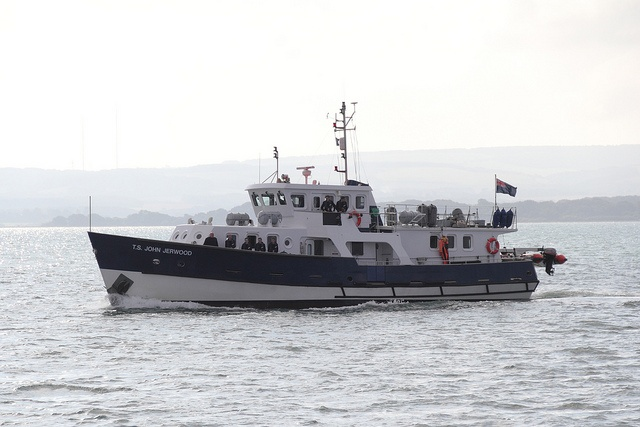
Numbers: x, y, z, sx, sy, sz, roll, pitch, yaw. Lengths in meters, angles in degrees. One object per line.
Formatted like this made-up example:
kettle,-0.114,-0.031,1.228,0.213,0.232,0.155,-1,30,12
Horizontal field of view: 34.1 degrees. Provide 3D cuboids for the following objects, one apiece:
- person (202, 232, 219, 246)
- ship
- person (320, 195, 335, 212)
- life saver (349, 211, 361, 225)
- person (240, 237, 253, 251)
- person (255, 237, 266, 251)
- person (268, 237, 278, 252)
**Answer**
person,-6.285,1.555,60.433,0.744,0.789,0.216,1,0,-8
ship,5.995,2.426,70.251,40.416,13.002,9.690,3,-6,-18
person,0.461,-0.523,62.456,1.079,1.320,0.494,-5,-35,7
life saver,2.193,0.361,62.487,0.753,0.764,0.322,1,-11,-1
person,-4.291,1.830,60.749,0.911,0.840,0.345,-1,-17,3
person,-3.447,1.837,60.782,0.557,0.765,0.768,0,3,44
person,-2.711,1.855,60.877,0.590,0.795,0.695,-2,2,-3
